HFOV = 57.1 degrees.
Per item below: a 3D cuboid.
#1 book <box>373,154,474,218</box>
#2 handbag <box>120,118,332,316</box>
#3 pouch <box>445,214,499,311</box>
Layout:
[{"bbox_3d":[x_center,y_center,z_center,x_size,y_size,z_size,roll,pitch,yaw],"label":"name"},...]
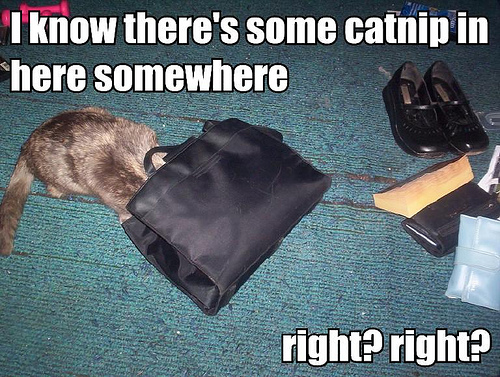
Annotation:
[{"bbox_3d":[1.001,-0.020,2.605,0.626,0.327,0.156,-31,113,-16],"label":"book"},{"bbox_3d":[-0.138,0.072,2.370,0.807,0.379,0.984,29,56,23],"label":"handbag"},{"bbox_3d":[1.221,0.408,2.515,0.376,0.130,0.435,15,87,8],"label":"pouch"}]
